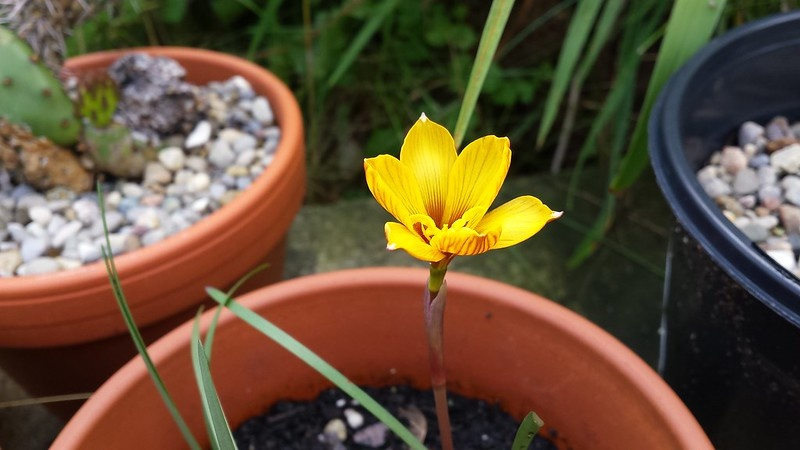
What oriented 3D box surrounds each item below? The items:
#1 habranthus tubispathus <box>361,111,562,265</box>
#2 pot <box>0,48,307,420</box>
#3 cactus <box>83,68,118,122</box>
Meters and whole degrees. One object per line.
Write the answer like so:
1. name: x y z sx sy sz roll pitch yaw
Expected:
1. habranthus tubispathus: 0.072 -0.048 0.950 0.233 0.172 0.278 -9 46 -25
2. pot: -0.518 0.031 1.605 0.731 0.608 0.787 -3 43 2
3. cactus: -0.640 -0.276 1.274 0.067 0.105 0.024 0 9 -1
